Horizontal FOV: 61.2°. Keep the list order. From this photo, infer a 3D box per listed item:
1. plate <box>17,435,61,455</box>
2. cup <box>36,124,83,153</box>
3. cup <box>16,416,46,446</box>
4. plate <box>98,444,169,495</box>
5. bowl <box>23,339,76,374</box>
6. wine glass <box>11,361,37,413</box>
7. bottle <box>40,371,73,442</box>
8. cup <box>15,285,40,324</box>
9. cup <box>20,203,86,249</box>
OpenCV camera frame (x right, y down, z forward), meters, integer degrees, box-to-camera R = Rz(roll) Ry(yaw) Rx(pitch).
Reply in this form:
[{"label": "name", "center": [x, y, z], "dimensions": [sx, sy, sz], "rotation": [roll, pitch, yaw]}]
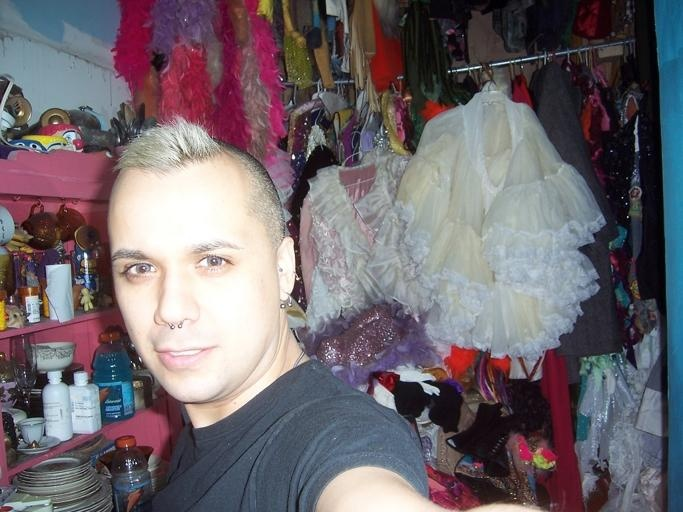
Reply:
[{"label": "plate", "center": [-1.050, 0.666, 2.017], "dimensions": [0.063, 0.064, 0.134], "rotation": [-5, 1, 28]}, {"label": "cup", "center": [-1.033, -0.454, 2.141], "dimensions": [0.101, 0.070, 0.100], "rotation": [12, 16, -3]}, {"label": "cup", "center": [-1.084, 0.618, 2.016], "dimensions": [0.069, 0.070, 0.072], "rotation": [-1, -13, 0]}, {"label": "plate", "center": [-0.747, 0.830, 2.182], "dimensions": [0.228, 0.069, 0.252], "rotation": [4, -1, 13]}, {"label": "bowl", "center": [-1.089, 0.372, 2.180], "dimensions": [0.106, 0.084, 0.115], "rotation": [-2, -3, 0]}, {"label": "wine glass", "center": [-1.162, 0.479, 2.122], "dimensions": [0.072, 0.224, 0.083], "rotation": [-5, 1, -33]}, {"label": "bottle", "center": [-1.026, 0.547, 2.089], "dimensions": [0.091, 0.275, 0.057], "rotation": [-5, 1, -33]}, {"label": "cup", "center": [-1.092, 0.173, 2.034], "dimensions": [0.057, 0.141, 0.066], "rotation": [-5, 1, -33]}, {"label": "cup", "center": [-1.128, -0.119, 2.225], "dimensions": [0.164, 0.196, 0.274], "rotation": [-5, 1, 24]}]
